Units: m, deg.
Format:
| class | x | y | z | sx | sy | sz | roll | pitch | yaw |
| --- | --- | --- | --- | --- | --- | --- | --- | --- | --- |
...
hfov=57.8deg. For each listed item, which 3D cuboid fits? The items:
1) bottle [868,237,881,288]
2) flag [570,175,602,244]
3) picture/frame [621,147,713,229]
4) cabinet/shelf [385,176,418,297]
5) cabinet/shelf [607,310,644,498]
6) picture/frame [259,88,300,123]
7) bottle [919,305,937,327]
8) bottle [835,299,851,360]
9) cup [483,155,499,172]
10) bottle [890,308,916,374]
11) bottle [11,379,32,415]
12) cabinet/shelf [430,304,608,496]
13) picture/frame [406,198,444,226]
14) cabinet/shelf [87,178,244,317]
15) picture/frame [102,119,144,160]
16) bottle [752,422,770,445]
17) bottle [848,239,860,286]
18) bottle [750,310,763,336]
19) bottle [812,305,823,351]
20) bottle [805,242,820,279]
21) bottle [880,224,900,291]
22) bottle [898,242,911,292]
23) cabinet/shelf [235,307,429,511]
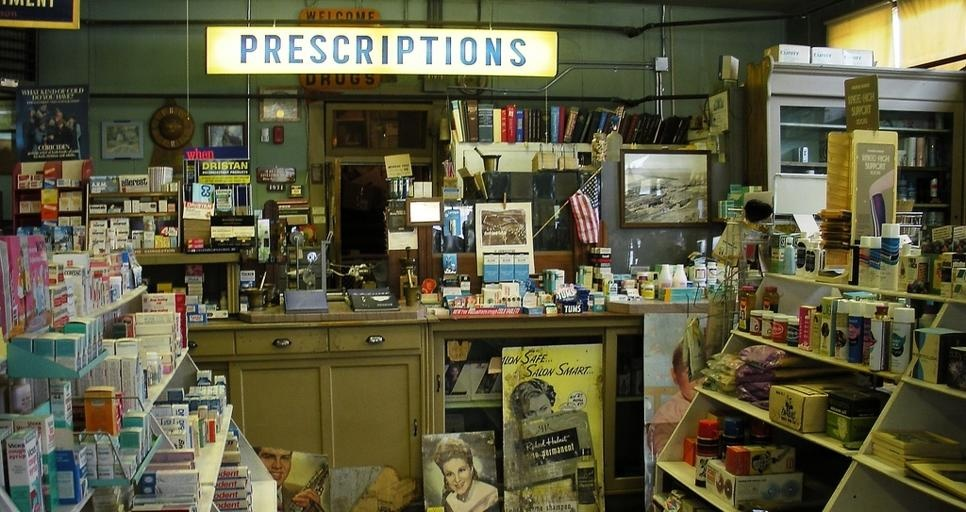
| class | x | y | z | sx | sy | sz | roll | pitch | yaw |
| --- | --- | --- | --- | --- | --- | --- | --- | --- | --- |
| bottle | 3.511 | 0.051 | 7.817 | 0.087 | 0.427 | 0.063 | 1 | 7 | 24 |
| flag | 1.226 | -0.551 | 10.073 | 0.244 | 0.821 | 0.441 | 4 | 8 | 39 |
| picture/frame | 2.142 | -0.769 | 10.316 | 0.957 | 0.804 | 0.040 | 0 | -3 | -11 |
| cabinet/shelf | -0.903 | -0.203 | 9.774 | 0.364 | 1.310 | 0.641 | -2 | 6 | -2 |
| cabinet/shelf | 1.524 | 1.579 | 9.411 | 0.430 | 1.888 | 0.346 | -1 | 6 | 5 |
| picture/frame | -3.044 | -2.259 | 12.980 | 0.506 | 0.439 | 0.042 | -1 | 5 | -9 |
| bottle | 3.934 | 0.523 | 7.669 | 0.204 | 0.180 | 0.122 | -5 | 7 | -26 |
| bottle | 3.230 | 0.661 | 7.854 | 0.113 | 0.531 | 0.061 | 1 | 7 | 22 |
| cup | 0.134 | -1.103 | 10.403 | 0.235 | 0.237 | 0.232 | -1 | 6 | 0 |
| bottle | 3.674 | 0.731 | 7.657 | 0.201 | 0.574 | 0.101 | 1 | 7 | 21 |
| bottle | -3.713 | 1.136 | 7.056 | 0.058 | 0.155 | 0.161 | 0 | 9 | 12 |
| cabinet/shelf | 0.339 | 1.589 | 9.313 | 1.951 | 1.833 | 0.763 | 1 | -4 | -3 |
| picture/frame | -0.643 | -0.495 | 9.754 | 0.479 | 0.340 | 0.257 | 0 | -3 | -9 |
| cabinet/shelf | -3.515 | -0.257 | 9.589 | 1.599 | 1.478 | 0.552 | -5 | 29 | -39 |
| picture/frame | -5.307 | -1.735 | 12.835 | 0.595 | 0.603 | 0.041 | 0 | 5 | -10 |
| bottle | 2.637 | 1.671 | 8.297 | 0.181 | 0.185 | 0.191 | 1 | 4 | 30 |
| bottle | 3.366 | 0.067 | 7.903 | 0.082 | 0.375 | 0.070 | -2 | 6 | -1 |
| bottle | 2.643 | 0.648 | 8.408 | 0.192 | 0.215 | 0.197 | 1 | 2 | 20 |
| bottle | 3.082 | 0.669 | 8.023 | 0.090 | 0.395 | 0.103 | 2 | 7 | 31 |
| bottle | 3.124 | 0.035 | 8.245 | 0.099 | 0.303 | 0.122 | -5 | 7 | -28 |
| bottle | 3.637 | 0.006 | 7.781 | 0.160 | 0.575 | 0.168 | -2 | 6 | 0 |
| bottle | 3.744 | 0.091 | 7.763 | 0.083 | 0.382 | 0.144 | 1 | 7 | 25 |
| cabinet/shelf | -1.648 | 1.579 | 9.114 | 2.113 | 2.005 | 0.902 | 0 | 0 | -5 |
